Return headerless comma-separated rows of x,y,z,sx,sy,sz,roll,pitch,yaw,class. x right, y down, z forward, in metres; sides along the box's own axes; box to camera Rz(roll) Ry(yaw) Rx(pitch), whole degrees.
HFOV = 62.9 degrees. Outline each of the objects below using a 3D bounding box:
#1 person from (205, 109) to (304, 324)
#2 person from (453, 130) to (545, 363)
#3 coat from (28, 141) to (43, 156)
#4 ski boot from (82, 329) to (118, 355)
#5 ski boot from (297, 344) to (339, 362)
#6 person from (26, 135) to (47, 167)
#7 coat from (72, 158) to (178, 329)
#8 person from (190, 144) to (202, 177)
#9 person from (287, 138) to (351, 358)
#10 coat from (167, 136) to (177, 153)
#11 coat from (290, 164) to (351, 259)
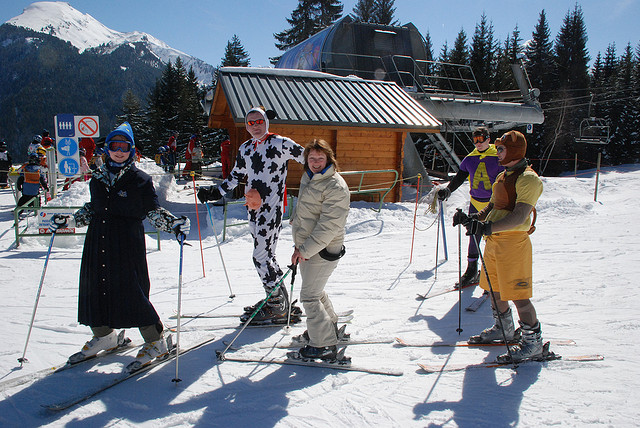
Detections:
-0.812,0.048,7.932,1.118,3.258,0.670,-2,2,-10,person
2.550,0.423,7.192,0.961,3.140,0.831,-1,2,23,person
-8.126,-1.897,14.832,0.509,0.494,0.513,-1,8,-23,coat
-2.938,1.700,7.136,0.573,0.225,0.186,-15,19,-37,ski boot
-0.003,1.874,7.169,0.575,0.243,0.203,4,3,6,ski boot
-8.071,-1.822,14.882,0.431,1.014,2.244,-2,2,-29,person
-2.629,0.516,6.822,1.501,3.068,0.770,5,9,28,coat
-5.339,-2.343,22.555,0.445,1.412,1.371,-2,2,-13,person
0.000,0.472,7.098,0.830,2.936,0.503,-1,2,0,person
-6.764,-3.167,23.937,0.275,0.759,1.069,-2,2,-18,coat
0.052,-0.063,7.143,0.572,1.413,1.069,2,-1,5,coat
